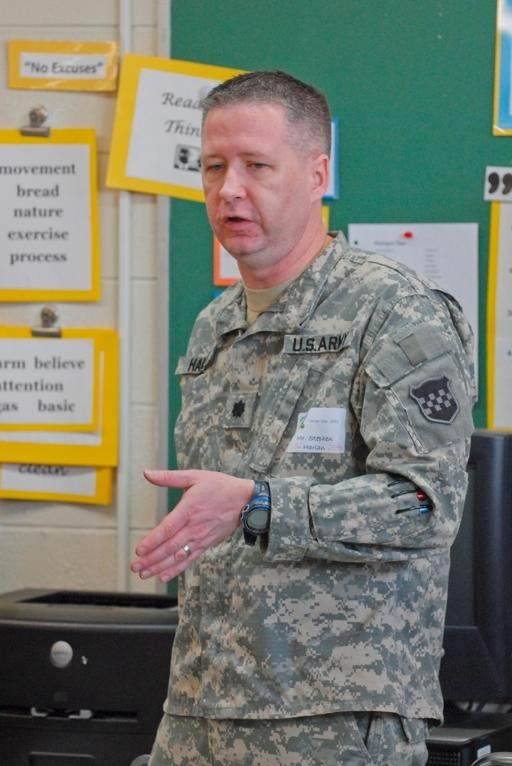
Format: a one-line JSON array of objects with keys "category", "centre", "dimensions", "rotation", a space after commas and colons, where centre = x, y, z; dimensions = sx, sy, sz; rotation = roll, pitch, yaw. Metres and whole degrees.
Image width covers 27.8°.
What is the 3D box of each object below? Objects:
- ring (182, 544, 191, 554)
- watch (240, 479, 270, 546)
[{"category": "ring", "centre": [-0.076, 0.177, 1.114], "dimensions": [0.007, 0.010, 0.010], "rotation": [-31, -14, -27]}, {"category": "watch", "centre": [0.000, 0.142, 1.122], "dimensions": [0.031, 0.066, 0.027], "rotation": [1, 4, -1]}]
